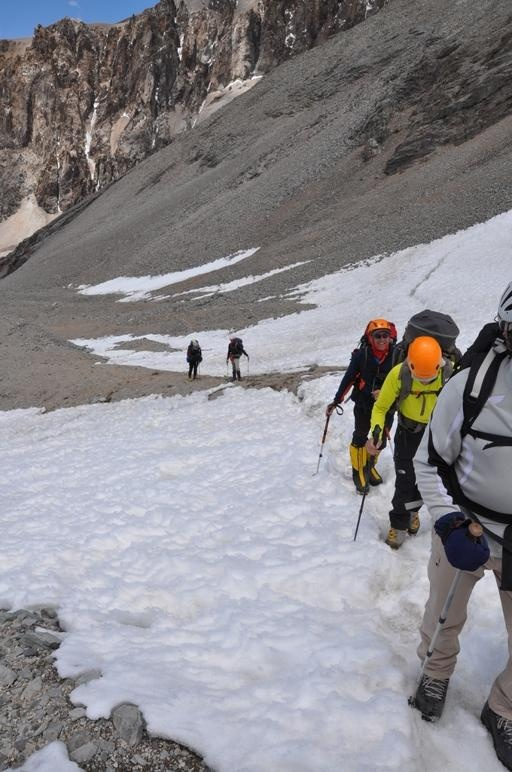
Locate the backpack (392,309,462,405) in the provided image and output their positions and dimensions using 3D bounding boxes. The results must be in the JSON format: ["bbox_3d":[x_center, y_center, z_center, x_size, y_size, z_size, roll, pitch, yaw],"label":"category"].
[{"bbox_3d":[1.520,-0.357,5.629,0.452,0.627,0.630,17,1,4],"label":"backpack"}]

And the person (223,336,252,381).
[{"bbox_3d":[-0.514,-0.688,18.850,0.786,1.538,0.757,14,41,20],"label":"person"}]

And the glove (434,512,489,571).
[{"bbox_3d":[1.142,0.859,3.669,0.233,0.145,0.343,24,-15,5],"label":"glove"}]

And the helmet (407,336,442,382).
[{"bbox_3d":[1.250,-0.180,5.060,0.239,0.329,0.271,-2,-15,8],"label":"helmet"}]
